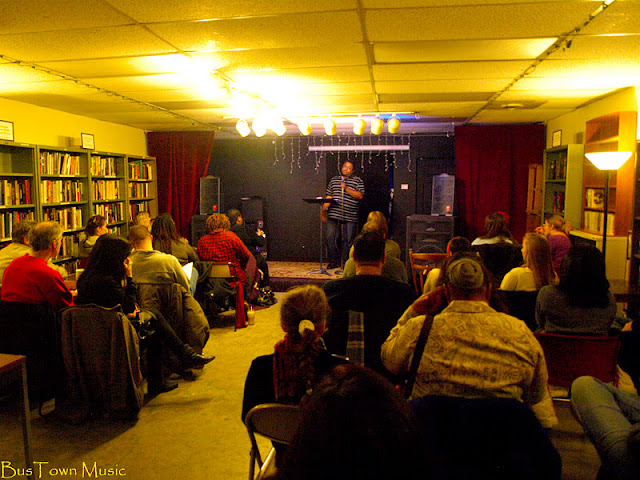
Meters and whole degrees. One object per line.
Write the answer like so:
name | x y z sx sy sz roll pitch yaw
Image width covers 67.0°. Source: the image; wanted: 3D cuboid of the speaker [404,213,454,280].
speaker | 1.902 0.083 8.286 0.719 1.252 0.892 4 23 19

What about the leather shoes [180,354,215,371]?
leather shoes | -1.105 1.142 4.524 0.380 0.157 0.132 -3 5 -14

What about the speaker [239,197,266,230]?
speaker | -1.258 -0.585 9.702 0.522 0.856 0.607 2 5 16

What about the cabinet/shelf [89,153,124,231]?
cabinet/shelf | -3.495 -0.796 7.588 0.396 1.087 1.196 2 6 0

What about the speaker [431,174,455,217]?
speaker | 1.996 -0.753 8.128 0.495 0.688 0.501 1 2 -43

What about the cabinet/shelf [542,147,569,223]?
cabinet/shelf | 3.397 -0.884 6.980 0.115 0.889 0.388 0 4 -32
